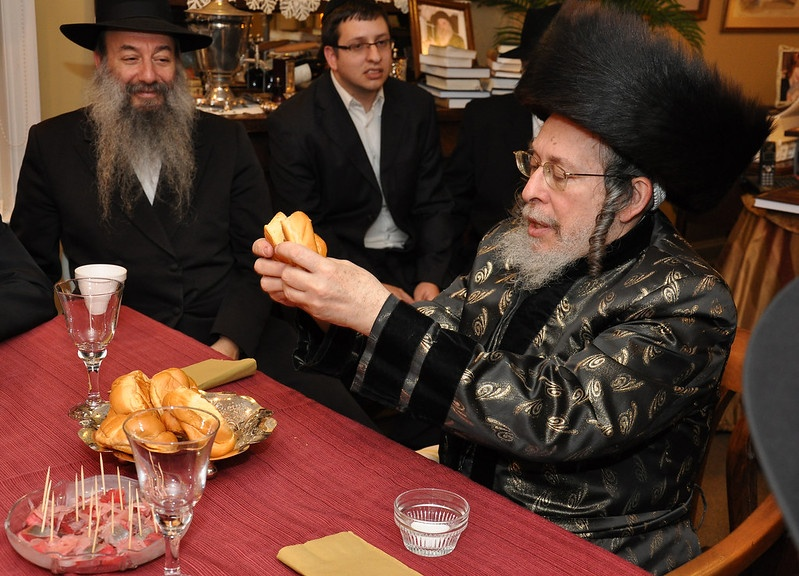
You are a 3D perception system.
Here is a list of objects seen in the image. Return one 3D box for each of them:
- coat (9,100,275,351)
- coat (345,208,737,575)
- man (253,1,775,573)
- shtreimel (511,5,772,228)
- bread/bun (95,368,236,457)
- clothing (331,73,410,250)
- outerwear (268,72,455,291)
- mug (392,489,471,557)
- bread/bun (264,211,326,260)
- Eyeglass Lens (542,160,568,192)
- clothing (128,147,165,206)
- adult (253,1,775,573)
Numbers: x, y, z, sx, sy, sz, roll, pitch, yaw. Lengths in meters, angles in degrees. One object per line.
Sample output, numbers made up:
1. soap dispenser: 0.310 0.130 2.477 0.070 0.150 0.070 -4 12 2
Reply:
1. coat: -0.966 -0.223 2.459 0.883 0.849 0.562 -8 15 -26
2. coat: 0.315 0.185 1.750 0.886 0.903 0.785 5 16 -23
3. man: 0.326 -0.276 2.194 1.420 2.031 1.054 -1 20 -7
4. shtreimel: 0.579 -0.412 1.518 0.587 0.451 0.238 5 26 6
5. bread/bun: -0.478 0.195 1.298 0.209 0.076 0.207 -10 29 -45
6. clothing: -0.147 -0.649 3.523 0.608 0.825 0.261 -3 9 -15
7. outerwear: -0.168 -0.508 3.139 0.924 1.242 0.674 -9 17 -22
8. mug: 0.057 0.404 1.150 0.105 0.061 0.105 1 10 -6
9. bread/bun: -0.234 -0.118 1.467 0.134 0.097 0.164 -3 26 -11
10. Eyeglass Lens: 0.374 -0.266 1.562 0.062 0.020 0.061 7 22 -29
11. clothing: -1.056 -0.472 2.746 0.113 0.235 0.036 -10 28 -19
12. adult: 0.339 -0.279 2.214 1.420 2.031 1.054 -1 20 -7
